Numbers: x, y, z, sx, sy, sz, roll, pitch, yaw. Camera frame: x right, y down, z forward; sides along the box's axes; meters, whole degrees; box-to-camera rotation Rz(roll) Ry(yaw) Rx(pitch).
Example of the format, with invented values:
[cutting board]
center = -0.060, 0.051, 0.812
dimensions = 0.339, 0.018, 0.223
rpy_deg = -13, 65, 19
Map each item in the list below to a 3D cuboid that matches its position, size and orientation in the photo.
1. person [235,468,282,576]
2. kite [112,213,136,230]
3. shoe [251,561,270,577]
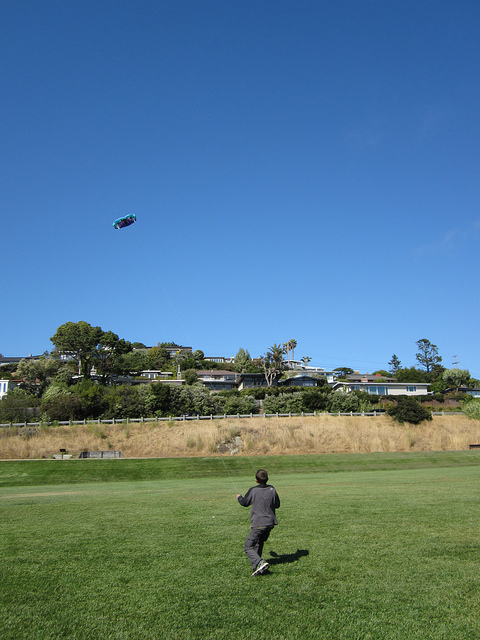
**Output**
[person]
center = 0.332, 3.353, 9.475
dimensions = 0.656, 1.656, 1.189
rpy_deg = 0, 0, 3
[kite]
center = -12.342, -10.543, 60.645
dimensions = 2.034, 1.877, 5.673
rpy_deg = 0, 0, -15
[shoe]
center = 0.330, 3.933, 8.940
dimensions = 0.374, 0.139, 0.175
rpy_deg = -48, 9, 25
